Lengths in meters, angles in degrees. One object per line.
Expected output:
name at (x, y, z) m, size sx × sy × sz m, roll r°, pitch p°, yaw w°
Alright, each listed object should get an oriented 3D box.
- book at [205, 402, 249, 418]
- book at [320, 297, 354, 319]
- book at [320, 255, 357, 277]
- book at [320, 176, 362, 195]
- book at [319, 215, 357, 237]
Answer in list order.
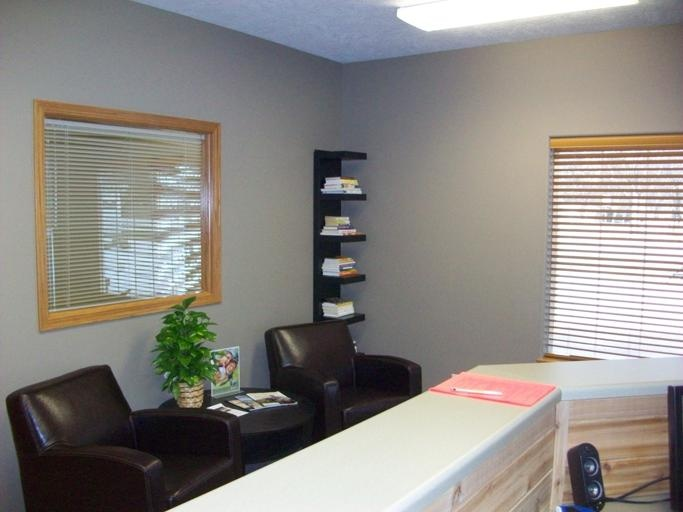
book at (-0.788, 1.067, 3.612) m, size 0.238 × 0.041 × 0.144 m, roll 9°, pitch 6°, yaw 29°
book at (-0.055, 0.477, 5.049) m, size 0.187 × 0.111 × 0.250 m, roll 3°, pitch 4°, yaw 36°
book at (-0.042, 0.116, 5.027) m, size 0.187 × 0.124 × 0.260 m, roll 2°, pitch 2°, yaw 37°
book at (-0.008, -0.652, 4.977) m, size 0.373 × 0.139 × 0.199 m, roll -4°, pitch 1°, yaw -2°
book at (-0.043, -0.278, 4.984) m, size 0.334 × 0.156 × 0.185 m, roll -4°, pitch 1°, yaw -3°
